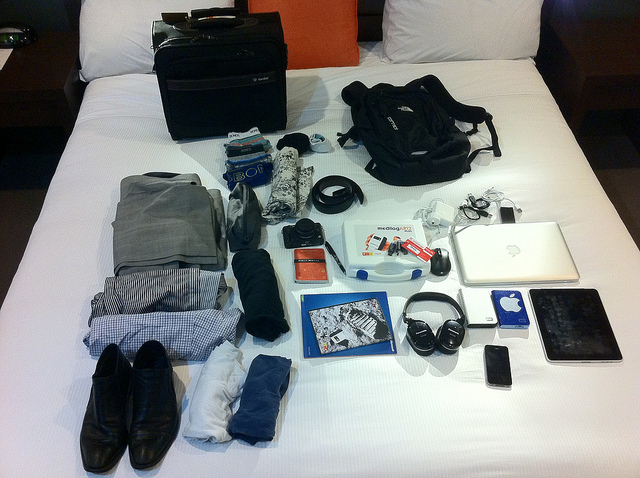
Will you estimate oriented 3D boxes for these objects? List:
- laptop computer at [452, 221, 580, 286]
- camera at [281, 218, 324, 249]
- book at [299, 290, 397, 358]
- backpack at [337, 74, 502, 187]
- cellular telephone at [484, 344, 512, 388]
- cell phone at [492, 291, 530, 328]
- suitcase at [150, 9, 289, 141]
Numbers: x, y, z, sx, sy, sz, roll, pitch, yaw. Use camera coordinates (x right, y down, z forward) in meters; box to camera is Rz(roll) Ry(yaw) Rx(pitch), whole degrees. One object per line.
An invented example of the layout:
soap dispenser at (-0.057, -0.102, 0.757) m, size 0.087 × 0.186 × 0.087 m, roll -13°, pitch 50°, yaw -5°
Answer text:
laptop computer at (0.790, 0.062, 1.935) m, size 0.453 × 0.025 × 0.273 m, roll -2°, pitch 57°, yaw 1°
camera at (-0.070, -0.029, 2.012) m, size 0.177 × 0.097 × 0.106 m, roll -4°, pitch 44°, yaw -4°
book at (0.102, 0.313, 1.779) m, size 0.350 × 0.034 × 0.265 m, roll -3°, pitch 57°, yaw 1°
backpack at (0.438, -0.588, 2.494) m, size 0.769 × 0.279 × 0.865 m, roll -3°, pitch 33°, yaw 7°
cellular telephone at (0.625, 0.447, 1.665) m, size 0.083 × 0.020 × 0.149 m, roll 4°, pitch 57°, yaw 5°
cell phone at (0.721, 0.267, 1.797) m, size 0.111 × 0.036 × 0.160 m, roll 2°, pitch 47°, yaw 7°
suitcase at (-0.395, -0.791, 2.549) m, size 0.760 × 0.765 × 0.606 m, roll -6°, pitch 55°, yaw -3°
